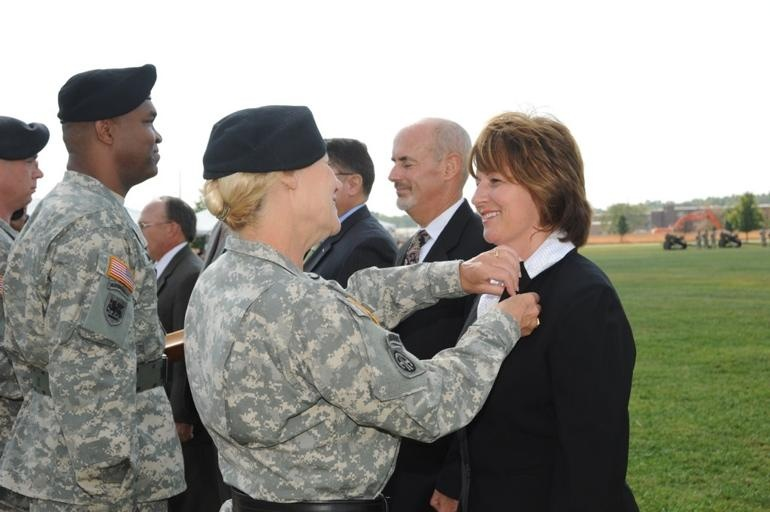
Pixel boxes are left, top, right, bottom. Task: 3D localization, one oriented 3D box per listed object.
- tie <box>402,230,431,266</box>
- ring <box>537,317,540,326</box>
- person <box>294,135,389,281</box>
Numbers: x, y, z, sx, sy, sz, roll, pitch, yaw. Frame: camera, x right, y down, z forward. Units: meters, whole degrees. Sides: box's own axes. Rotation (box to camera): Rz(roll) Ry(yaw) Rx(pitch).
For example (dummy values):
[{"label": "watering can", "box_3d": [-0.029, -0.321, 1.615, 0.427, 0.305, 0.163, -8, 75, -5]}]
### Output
[{"label": "tie", "box_3d": [0.219, -0.056, 5.090, 0.063, 0.265, 0.148, 24, 4, -33]}, {"label": "ring", "box_3d": [0.816, 0.355, 3.751, 0.021, 0.039, 0.028, 3, 6, -2]}, {"label": "person", "box_3d": [-0.300, -0.251, 5.771, 0.802, 1.418, 1.581, 4, -6, -9]}]
